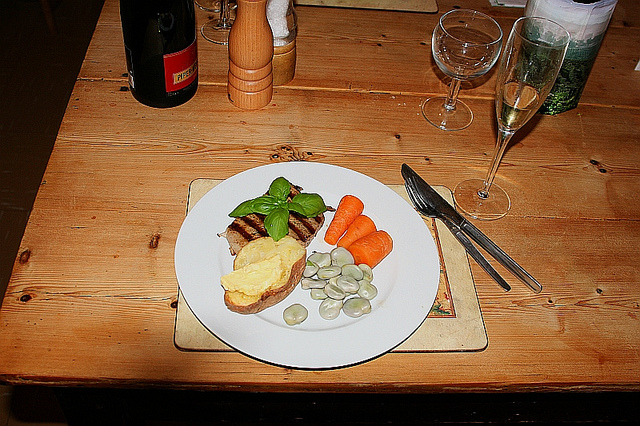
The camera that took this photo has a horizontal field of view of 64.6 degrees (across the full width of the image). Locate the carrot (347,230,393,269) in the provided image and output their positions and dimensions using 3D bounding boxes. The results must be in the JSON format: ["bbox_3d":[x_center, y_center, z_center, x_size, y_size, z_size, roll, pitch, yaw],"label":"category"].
[{"bbox_3d":[0.112,0.076,1.120,0.085,0.063,0.063,-22,37,-32],"label":"carrot"}]

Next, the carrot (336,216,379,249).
[{"bbox_3d":[0.070,0.039,1.122,0.079,0.135,0.073,-37,86,-5],"label":"carrot"}]

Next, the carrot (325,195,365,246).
[{"bbox_3d":[0.051,0.012,1.168,0.065,0.062,0.113,36,61,-3],"label":"carrot"}]

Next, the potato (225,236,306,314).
[{"bbox_3d":[-0.106,0.119,1.018,0.141,0.041,0.177,10,64,-2],"label":"potato"}]

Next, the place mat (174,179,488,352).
[{"bbox_3d":[0.019,0.098,1.111,0.643,0.070,0.411,2,65,-5],"label":"place mat"}]

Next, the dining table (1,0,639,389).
[{"bbox_3d":[0.021,-0.029,1.385,1.539,0.369,1.045,1,56,-1],"label":"dining table"}]

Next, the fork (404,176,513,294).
[{"bbox_3d":[0.307,0.058,1.143,0.037,0.032,0.304,-35,83,-36],"label":"fork"}]
